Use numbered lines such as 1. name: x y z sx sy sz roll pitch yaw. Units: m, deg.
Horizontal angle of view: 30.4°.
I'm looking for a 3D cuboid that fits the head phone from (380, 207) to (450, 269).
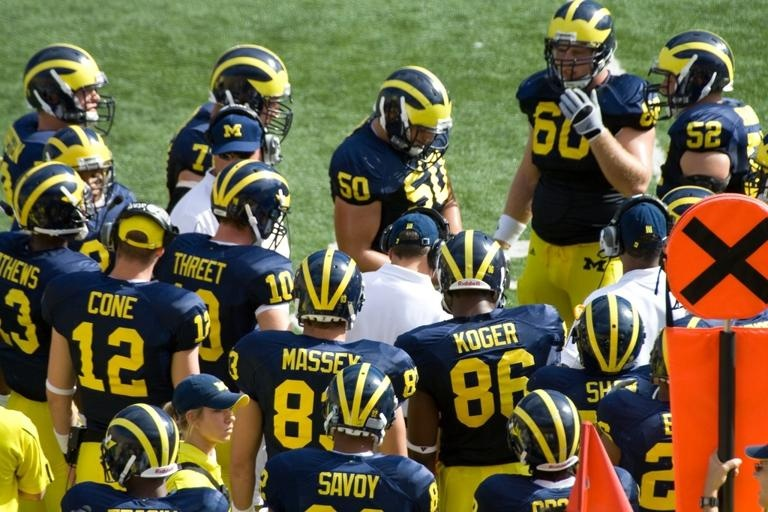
1. head phone: 0.247 -0.160 10.615 0.427 0.514 0.270 11 49 12
